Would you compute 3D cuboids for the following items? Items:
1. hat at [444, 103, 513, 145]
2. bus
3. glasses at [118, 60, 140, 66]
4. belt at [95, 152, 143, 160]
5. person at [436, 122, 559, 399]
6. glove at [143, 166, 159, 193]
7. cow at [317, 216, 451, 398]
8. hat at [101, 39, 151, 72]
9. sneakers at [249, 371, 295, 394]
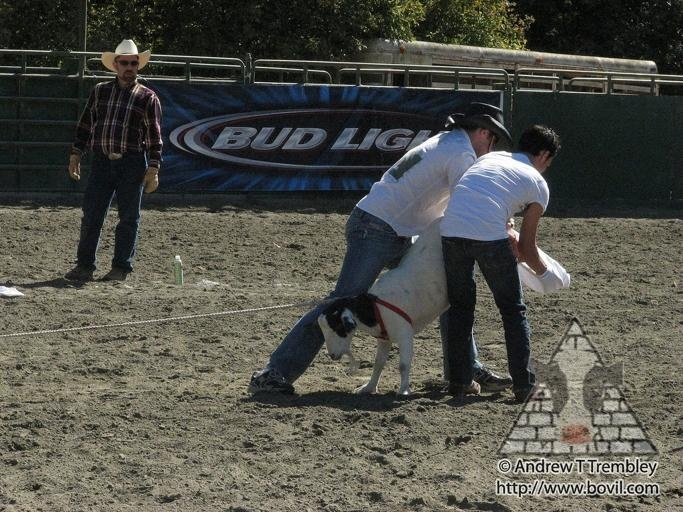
[{"bbox_3d":[1.341,-1.254,10.508,0.732,0.261,0.554,16,-1,-8],"label":"hat"},{"bbox_3d":[3.462,-3.908,22.976,6.403,1.157,7.737,3,7,7],"label":"bus"},{"bbox_3d":[-2.554,-2.306,13.159,0.239,0.069,0.112,0,7,-21],"label":"glasses"},{"bbox_3d":[-2.663,-1.198,13.176,0.557,0.121,0.172,1,7,-10],"label":"belt"},{"bbox_3d":[1.385,0.197,10.212,0.986,2.278,0.395,4,7,9],"label":"person"},{"bbox_3d":[-2.301,-0.918,13.218,0.154,0.303,0.311,2,7,-14],"label":"glove"},{"bbox_3d":[0.416,0.488,10.254,1.241,1.649,0.349,0,8,-21],"label":"cow"},{"bbox_3d":[-2.627,-2.478,13.459,0.590,0.223,0.624,-3,-8,-20],"label":"hat"},{"bbox_3d":[-0.676,1.182,10.365,0.521,0.209,0.168,3,37,-5],"label":"sneakers"}]
